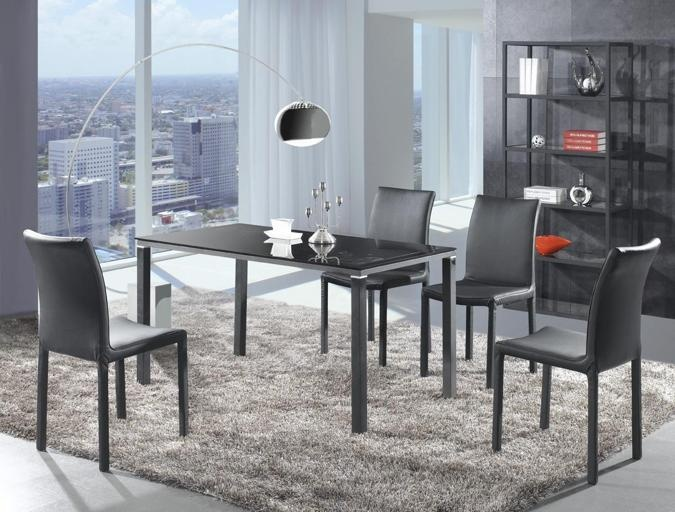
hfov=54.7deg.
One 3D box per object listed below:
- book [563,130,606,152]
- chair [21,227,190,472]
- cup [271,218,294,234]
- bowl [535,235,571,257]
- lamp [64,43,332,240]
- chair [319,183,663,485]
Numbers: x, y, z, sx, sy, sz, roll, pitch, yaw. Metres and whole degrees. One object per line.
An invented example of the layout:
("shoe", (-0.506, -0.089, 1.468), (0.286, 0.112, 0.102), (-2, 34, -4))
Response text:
("book", (1.866, -0.864, 4.946), (0.311, 0.159, 0.156), (5, 13, 25))
("chair", (-1.099, 0.390, 3.096), (0.582, 1.043, 0.576), (8, 15, 36))
("cup", (-0.333, -0.177, 3.975), (0.135, 0.102, 0.114), (1, -1, 44))
("bowl", (1.657, -0.082, 5.106), (0.211, 0.115, 0.285), (-7, 9, -2))
("lamp", (-0.659, -0.508, 3.393), (0.314, 1.295, 1.528), (22, 22, 40))
("chair", (0.918, 0.447, 3.755), (0.770, 0.762, 1.450), (-5, 8, -42))
